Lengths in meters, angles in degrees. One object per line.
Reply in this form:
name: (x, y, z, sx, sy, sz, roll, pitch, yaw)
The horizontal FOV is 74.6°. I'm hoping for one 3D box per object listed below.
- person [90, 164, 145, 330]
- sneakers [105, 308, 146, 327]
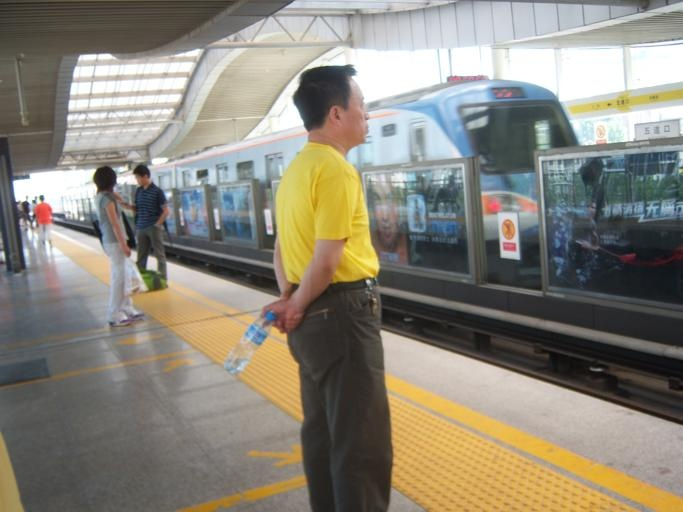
person: (-3.175, -0.148, 6.278, 0.457, 2.192, 0.816, -10, 11, -26)
sneakers: (-2.985, 0.877, 6.277, 0.471, 0.212, 0.175, -16, 6, -14)
